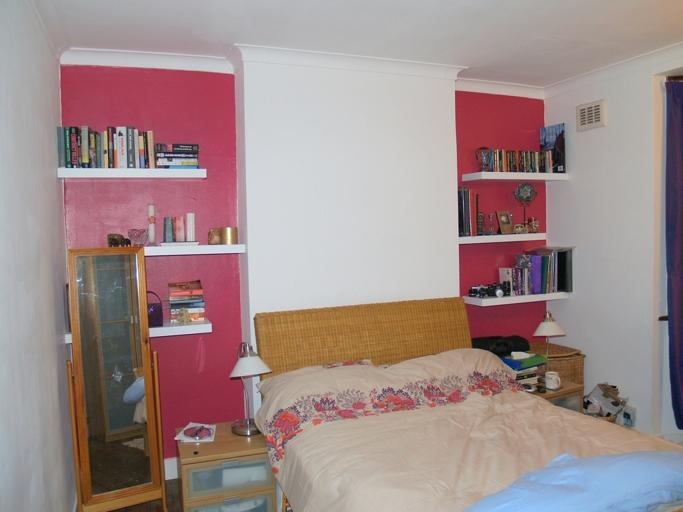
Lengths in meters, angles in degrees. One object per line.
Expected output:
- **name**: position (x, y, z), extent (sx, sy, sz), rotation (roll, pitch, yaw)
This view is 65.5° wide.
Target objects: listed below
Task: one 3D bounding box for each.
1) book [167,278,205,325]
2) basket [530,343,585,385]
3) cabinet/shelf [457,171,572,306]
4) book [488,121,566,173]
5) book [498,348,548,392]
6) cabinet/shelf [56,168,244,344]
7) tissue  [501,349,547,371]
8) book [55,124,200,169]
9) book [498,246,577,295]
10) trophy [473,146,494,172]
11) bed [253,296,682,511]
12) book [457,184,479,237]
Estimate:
- **book**: position (-1.115, 0.326, 3.875), extent (0.283, 0.288, 0.266), rotation (-1, 5, -14)
- **basket**: position (1.949, 0.951, 4.820), extent (0.331, 0.317, 0.421), rotation (-1, -2, -9)
- **cabinet/shelf**: position (1.540, -0.140, 4.793), extent (1.173, 1.444, 0.449), rotation (-1, -2, -24)
- **book**: position (1.685, -0.872, 4.841), extent (0.566, 0.364, 0.570), rotation (0, 2, -10)
- **book**: position (1.506, 0.925, 4.327), extent (0.274, 0.155, 0.316), rotation (0, 2, -22)
- **cabinet/shelf**: position (-1.416, -0.014, 3.785), extent (1.241, 1.192, 0.397), rotation (-2, 5, -22)
- **tissue **: position (1.466, 0.864, 4.380), extent (0.192, 0.054, 0.190), rotation (-5, 8, -31)
- **book**: position (-1.488, -0.745, 3.720), extent (0.922, 0.288, 0.138), rotation (-3, 14, -14)
- **book**: position (1.808, 0.142, 4.922), extent (0.548, 0.447, 0.589), rotation (-2, -3, 11)
- **trophy**: position (1.262, -0.842, 4.670), extent (0.144, 0.195, 0.280), rotation (0, 14, -1)
- **bed**: position (0.775, 0.963, 3.506), extent (1.294, 0.579, 1.237), rotation (-3, 3, -24)
- **book**: position (1.111, -0.372, 4.577), extent (0.231, 0.400, 0.199), rotation (-3, 14, -13)
